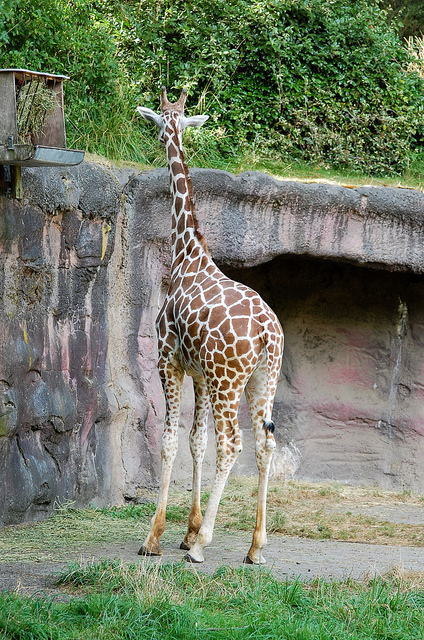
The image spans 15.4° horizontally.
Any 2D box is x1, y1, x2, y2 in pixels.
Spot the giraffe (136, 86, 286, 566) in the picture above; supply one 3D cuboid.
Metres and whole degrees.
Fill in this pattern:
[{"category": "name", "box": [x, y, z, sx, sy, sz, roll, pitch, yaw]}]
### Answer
[{"category": "giraffe", "box": [-0.050, -0.011, 10.499, 0.797, 3.070, 1.241, 1, 3, -30]}]
